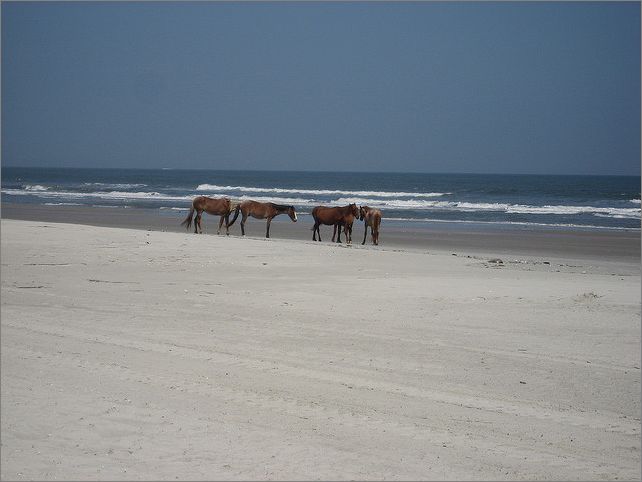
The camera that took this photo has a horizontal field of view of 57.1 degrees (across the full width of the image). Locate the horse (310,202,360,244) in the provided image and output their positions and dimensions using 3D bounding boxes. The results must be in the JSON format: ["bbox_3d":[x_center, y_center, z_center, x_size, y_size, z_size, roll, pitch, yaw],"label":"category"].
[{"bbox_3d":[0.470,-0.763,25.141,2.327,1.709,0.644,3,-5,32],"label":"horse"}]

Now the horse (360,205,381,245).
[{"bbox_3d":[2.100,-0.693,25.161,0.562,1.686,2.327,0,4,-13],"label":"horse"}]

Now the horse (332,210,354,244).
[{"bbox_3d":[0.902,-0.773,25.433,0.514,1.758,2.225,8,11,13],"label":"horse"}]
